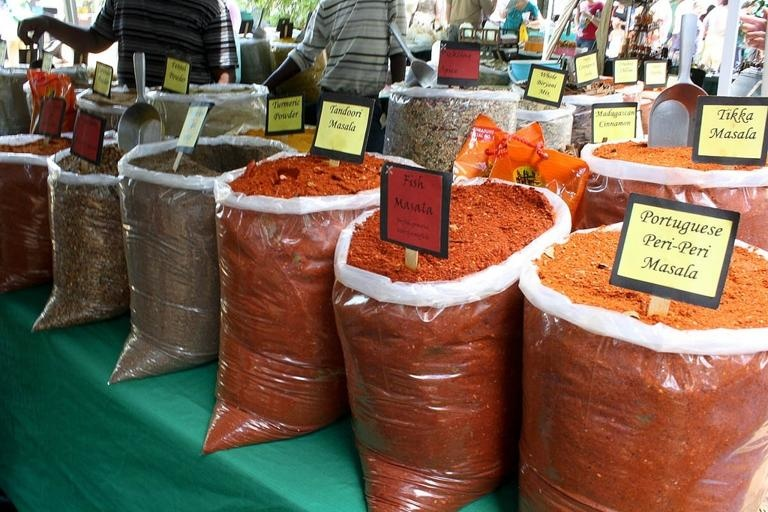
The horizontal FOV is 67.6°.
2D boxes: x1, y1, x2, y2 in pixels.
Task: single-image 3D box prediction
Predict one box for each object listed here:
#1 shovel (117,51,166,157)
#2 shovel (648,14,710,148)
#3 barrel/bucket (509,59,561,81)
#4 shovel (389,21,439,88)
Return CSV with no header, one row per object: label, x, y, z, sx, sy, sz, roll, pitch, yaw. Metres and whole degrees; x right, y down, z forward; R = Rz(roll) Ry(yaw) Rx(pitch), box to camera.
shovel,-0.843,-0.522,1.983,0.139,0.329,0.290,-1,15,-17
shovel,0.772,-0.451,1.498,0.121,0.336,0.216,9,15,23
barrel/bucket,0.651,-0.861,2.608,0.211,0.100,0.273,-2,28,1
shovel,0.081,-0.738,2.155,0.109,0.077,0.522,-8,47,-14
